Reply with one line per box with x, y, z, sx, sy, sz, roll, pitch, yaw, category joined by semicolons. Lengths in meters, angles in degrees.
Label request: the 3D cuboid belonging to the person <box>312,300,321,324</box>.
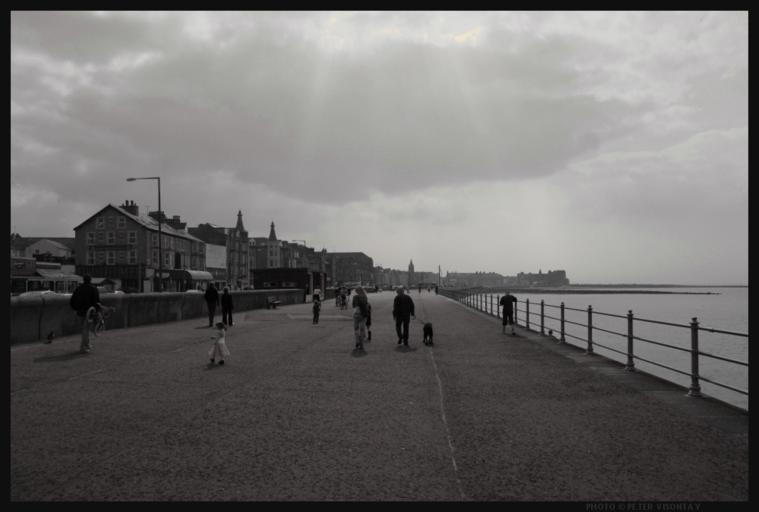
-2.689;2.390;27.373;0.254;1.073;1.023;0;5;-8;person

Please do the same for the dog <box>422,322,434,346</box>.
1.522;2.363;19.349;0.253;0.597;0.501;0;5;-4;dog
